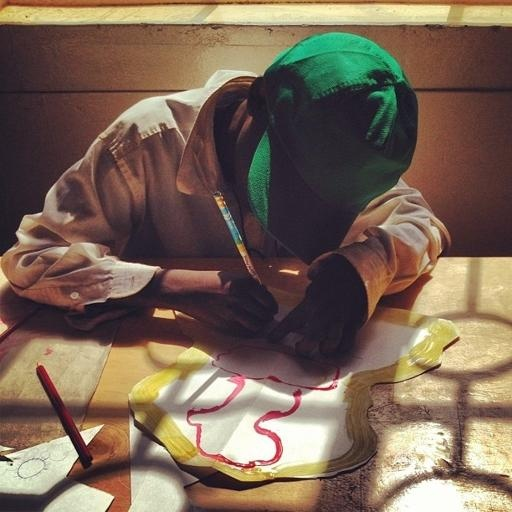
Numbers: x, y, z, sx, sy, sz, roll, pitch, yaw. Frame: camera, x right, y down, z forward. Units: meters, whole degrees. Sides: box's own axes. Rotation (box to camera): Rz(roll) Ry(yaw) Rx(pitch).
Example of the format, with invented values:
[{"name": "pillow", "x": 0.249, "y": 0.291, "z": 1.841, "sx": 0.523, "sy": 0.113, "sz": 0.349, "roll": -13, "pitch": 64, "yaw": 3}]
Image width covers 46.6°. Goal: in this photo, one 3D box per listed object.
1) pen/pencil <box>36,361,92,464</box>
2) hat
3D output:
[{"name": "pen/pencil", "x": -0.286, "y": 0.239, "z": 0.884, "sx": 0.022, "sy": 0.018, "sz": 0.172, "roll": -22, "pitch": 59, "yaw": -37}, {"name": "hat", "x": 0.125, "y": -0.186, "z": 1.134, "sx": 0.343, "sy": 0.448, "sz": 0.179, "roll": 6, "pitch": 31, "yaw": 14}]
